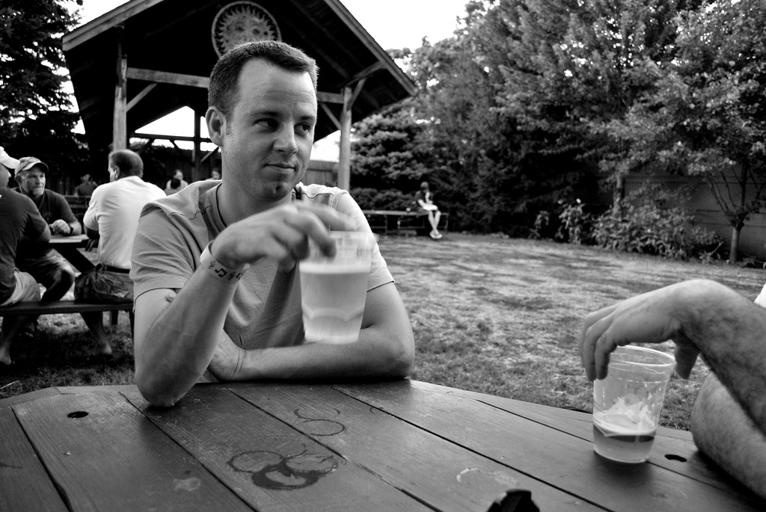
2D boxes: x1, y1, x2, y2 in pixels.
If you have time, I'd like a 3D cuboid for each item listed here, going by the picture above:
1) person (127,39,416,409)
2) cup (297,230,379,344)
[{"bbox_3d":[-0.453,-0.186,2.332,1.202,1.417,1.197,2,1,12],"label":"person"},{"bbox_3d":[-0.114,0.105,1.930,0.360,0.441,0.315,4,-1,4],"label":"cup"}]
